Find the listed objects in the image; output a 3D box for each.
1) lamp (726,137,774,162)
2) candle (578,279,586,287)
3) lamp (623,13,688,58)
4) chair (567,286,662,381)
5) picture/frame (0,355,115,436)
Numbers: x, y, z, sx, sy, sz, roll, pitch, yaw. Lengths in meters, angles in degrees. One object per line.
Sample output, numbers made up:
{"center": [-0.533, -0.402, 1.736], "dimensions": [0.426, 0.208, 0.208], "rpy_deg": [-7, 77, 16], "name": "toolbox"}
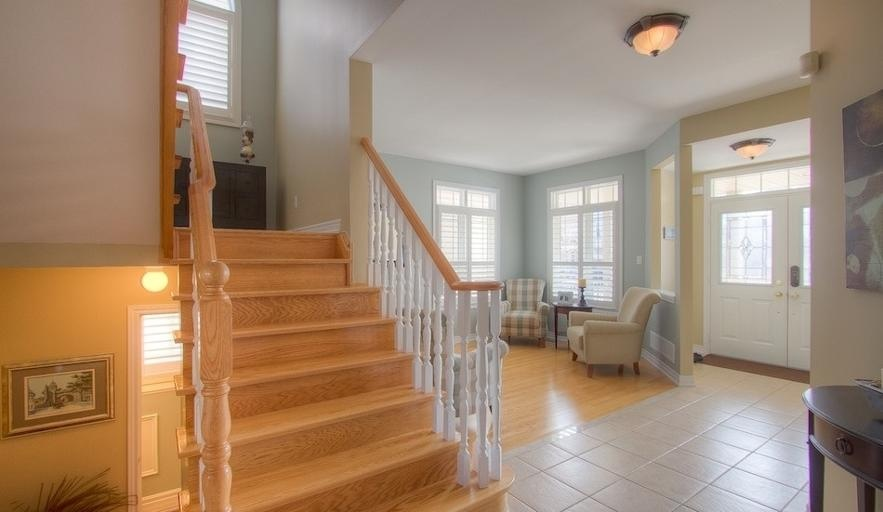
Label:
{"center": [3.938, -1.354, 6.621], "dimensions": [0.323, 0.129, 0.313], "rpy_deg": [-2, -3, 15], "name": "lamp"}
{"center": [2.251, 0.425, 8.304], "dimensions": [0.120, 0.106, 0.114], "rpy_deg": [-1, -6, -13], "name": "candle"}
{"center": [2.142, -2.132, 5.259], "dimensions": [0.566, 0.244, 0.516], "rpy_deg": [-3, -10, 16], "name": "lamp"}
{"center": [2.425, 1.054, 7.460], "dimensions": [1.146, 0.792, 0.979], "rpy_deg": [-2, 0, 9], "name": "chair"}
{"center": [-3.928, 1.385, 5.258], "dimensions": [0.902, 0.689, 0.060], "rpy_deg": [-3, 5, -29], "name": "picture/frame"}
